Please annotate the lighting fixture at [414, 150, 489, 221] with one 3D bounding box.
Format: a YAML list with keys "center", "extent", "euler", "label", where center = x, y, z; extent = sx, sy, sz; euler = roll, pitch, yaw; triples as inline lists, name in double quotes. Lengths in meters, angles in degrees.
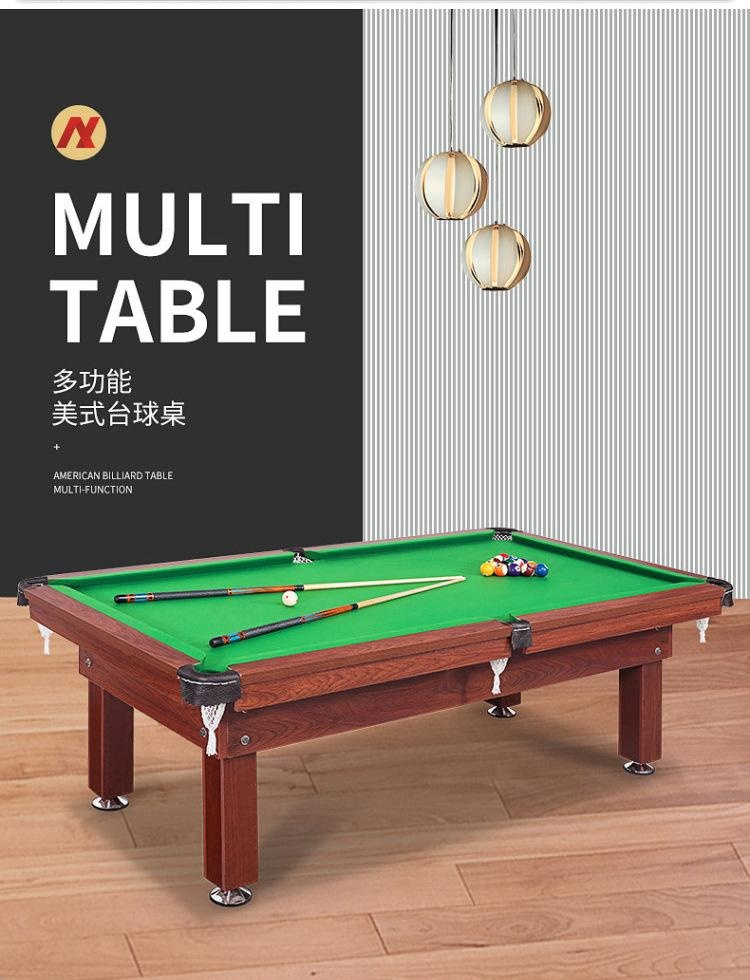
- center: [0.219, -0.851, 2.818]
  extent: [0.186, 0.181, 0.122]
  euler: [0, 5, 2]
  label: "lighting fixture"

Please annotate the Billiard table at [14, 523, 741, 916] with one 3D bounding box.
- center: [0.079, 0.541, 2.837]
  extent: [1.817, 0.656, 1.150]
  euler: [-3, 6, -36]
  label: "Billiard table"

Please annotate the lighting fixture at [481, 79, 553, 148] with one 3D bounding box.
- center: [0.414, -1.103, 2.963]
  extent: [0.195, 0.193, 0.193]
  euler: [-2, 14, 6]
  label: "lighting fixture"

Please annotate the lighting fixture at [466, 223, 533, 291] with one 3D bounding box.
- center: [0.357, -0.676, 2.966]
  extent: [0.202, 0.200, 0.209]
  euler: [1, 0, 6]
  label: "lighting fixture"
